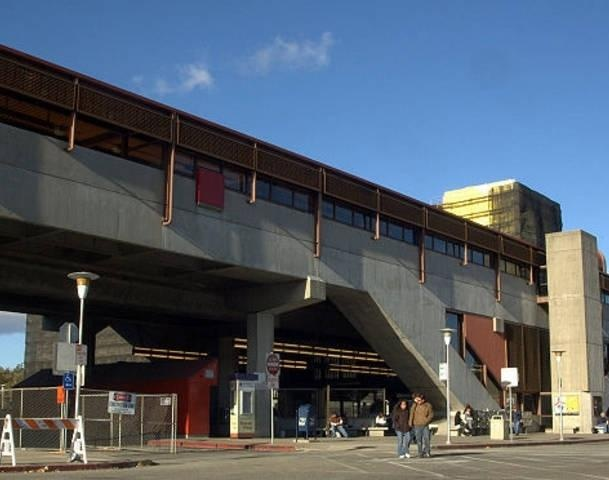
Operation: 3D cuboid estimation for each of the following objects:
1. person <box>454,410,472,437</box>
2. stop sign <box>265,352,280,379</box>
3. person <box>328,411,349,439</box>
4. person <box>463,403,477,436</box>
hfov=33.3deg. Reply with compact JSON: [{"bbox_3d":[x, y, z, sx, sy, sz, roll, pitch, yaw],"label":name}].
[{"bbox_3d":[8.995,10.399,57.368,0.991,1.600,1.021,-5,-12,33],"label":"person"},{"bbox_3d":[-1.368,5.540,45.393,0.471,1.274,0.934,-4,-17,6],"label":"stop sign"},{"bbox_3d":[1.798,9.834,54.036,0.898,1.441,1.210,1,0,-1],"label":"person"},{"bbox_3d":[9.223,10.141,57.122,0.563,1.770,1.336,-8,-18,19],"label":"person"}]
